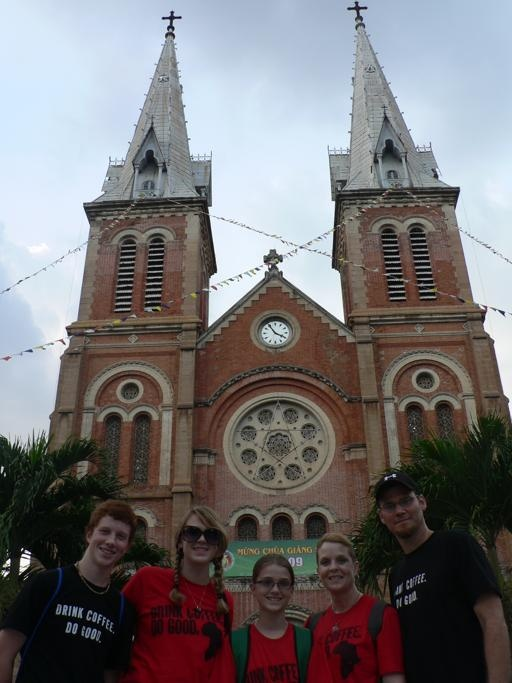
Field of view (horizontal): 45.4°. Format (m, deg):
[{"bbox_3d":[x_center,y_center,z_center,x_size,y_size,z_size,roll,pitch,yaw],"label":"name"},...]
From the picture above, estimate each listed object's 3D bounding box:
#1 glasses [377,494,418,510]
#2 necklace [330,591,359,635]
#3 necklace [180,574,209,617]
[{"bbox_3d":[1.070,1.210,4.594,0.151,0.069,0.201,-18,-23,13],"label":"glasses"},{"bbox_3d":[0.702,2.154,4.875,0.210,0.306,0.321,-19,-30,13],"label":"necklace"},{"bbox_3d":[-0.459,1.925,4.586,0.171,0.196,0.193,6,-46,-1],"label":"necklace"}]
